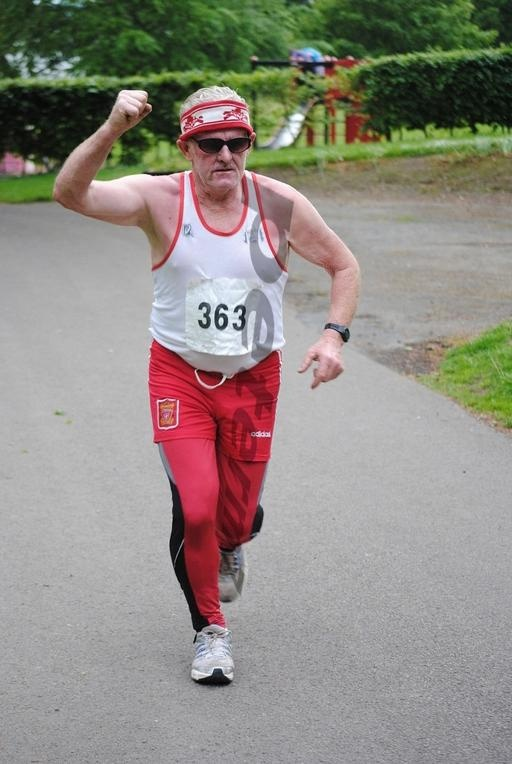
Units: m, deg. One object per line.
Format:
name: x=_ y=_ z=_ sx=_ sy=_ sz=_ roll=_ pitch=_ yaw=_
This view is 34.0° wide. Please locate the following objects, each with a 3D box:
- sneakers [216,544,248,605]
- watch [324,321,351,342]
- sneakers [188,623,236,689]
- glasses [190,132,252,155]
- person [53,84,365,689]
sneakers: x=-0.078 y=0.692 z=3.004 sx=0.081 sy=0.204 sz=0.093 roll=-1 pitch=17 yaw=8
watch: x=0.275 y=-0.169 z=2.764 sx=0.075 sy=0.038 sz=0.069 roll=26 pitch=3 yaw=0
sneakers: x=-0.138 y=0.862 z=2.619 sx=0.122 sy=0.122 sz=0.292 roll=0 pitch=-13 yaw=-2
glasses: x=-0.101 y=-0.724 z=2.550 sx=0.183 sy=0.063 sz=0.101 roll=-1 pitch=13 yaw=-5
person: x=-0.097 y=-0.010 z=2.729 sx=0.927 sy=1.842 sz=0.579 roll=-10 pitch=17 yaw=-36
